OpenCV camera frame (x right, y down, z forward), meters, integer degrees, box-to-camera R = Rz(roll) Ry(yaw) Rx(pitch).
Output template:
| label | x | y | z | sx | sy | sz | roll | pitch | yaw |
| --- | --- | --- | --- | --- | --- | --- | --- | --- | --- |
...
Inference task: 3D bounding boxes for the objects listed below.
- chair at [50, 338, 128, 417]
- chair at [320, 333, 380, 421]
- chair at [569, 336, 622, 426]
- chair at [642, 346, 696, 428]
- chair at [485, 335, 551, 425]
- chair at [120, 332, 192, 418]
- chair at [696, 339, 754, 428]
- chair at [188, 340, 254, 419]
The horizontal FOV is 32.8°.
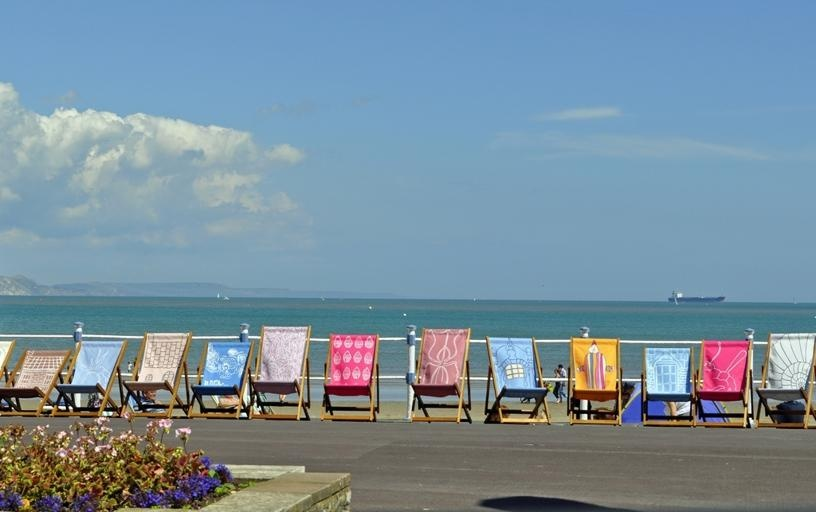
| label | x | y | z | sx | sy | sz | roll | pitch | yaw |
| --- | --- | --- | --- | --- | --- | --- | --- | --- | --- |
| chair | -5.017 | 1.907 | 21.925 | 0.963 | 1.062 | 1.265 | 1 | 2 | 0 |
| chair | -0.893 | 1.932 | 21.737 | 1.190 | 1.144 | 1.170 | -8 | 15 | -24 |
| chair | 2.950 | 1.983 | 21.849 | 0.835 | 1.398 | 1.283 | -2 | -10 | 6 |
| chair | 4.040 | 2.033 | 21.423 | 0.825 | 1.235 | 0.607 | -2 | -10 | 8 |
| chair | 1.705 | 1.940 | 21.595 | 1.015 | 1.365 | 1.010 | 0 | -10 | -3 |
| chair | -3.960 | 1.921 | 22.210 | 1.070 | 1.404 | 1.141 | -1 | -10 | 3 |
| chair | 4.858 | 1.974 | 21.289 | 0.961 | 1.147 | 1.054 | 2 | 8 | 30 |
| chair | -2.944 | 1.959 | 21.868 | 1.125 | 1.068 | 1.212 | -2 | 12 | -11 |
